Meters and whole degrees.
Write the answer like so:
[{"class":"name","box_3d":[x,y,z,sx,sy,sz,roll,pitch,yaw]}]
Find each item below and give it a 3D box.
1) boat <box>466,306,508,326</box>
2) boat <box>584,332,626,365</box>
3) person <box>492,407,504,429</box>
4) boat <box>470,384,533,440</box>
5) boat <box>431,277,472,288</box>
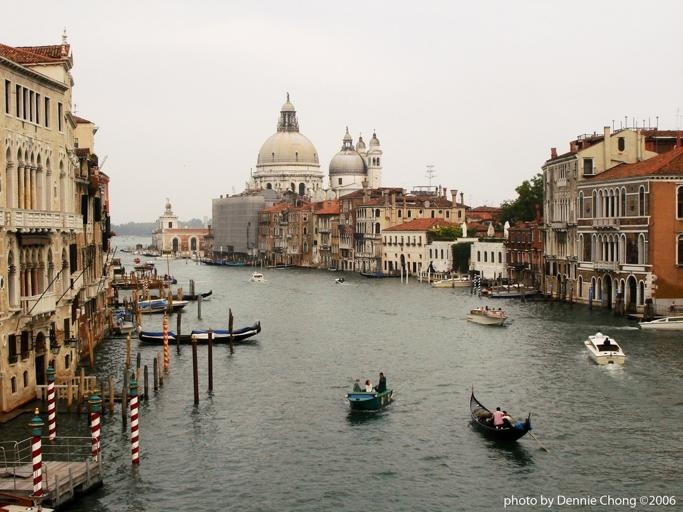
[{"class":"boat","box_3d":[12.577,5.227,98.193,1.422,1.512,4.260,-2,0,-23]},{"class":"boat","box_3d":[18.208,6.403,79.113,1.813,1.594,3.729,-2,8,-1]},{"class":"person","box_3d":[8.592,9.003,63.090,0.634,0.762,1.460,-1,8,7]},{"class":"boat","box_3d":[8.322,8.768,64.188,1.140,1.699,4.959,17,8,-31]},{"class":"boat","box_3d":[13.586,3.299,138.579,3.198,0.810,1.831,-2,5,-10]}]
